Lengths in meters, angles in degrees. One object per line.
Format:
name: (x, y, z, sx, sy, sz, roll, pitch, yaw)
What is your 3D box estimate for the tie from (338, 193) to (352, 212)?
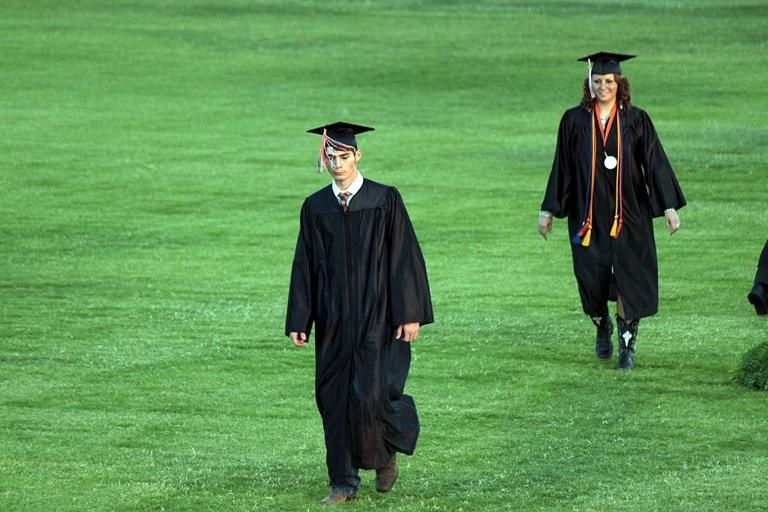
tie: (-0.478, -0.600, 18.666, 0.160, 0.208, 0.048, 0, 0, 9)

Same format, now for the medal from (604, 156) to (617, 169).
medal: (2.945, -1.160, 20.383, 0.183, 0.145, 0.091, 2, 3, 5)

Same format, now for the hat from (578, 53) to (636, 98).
hat: (2.938, -2.315, 20.705, 0.533, 0.560, 0.617, -1, 11, 6)

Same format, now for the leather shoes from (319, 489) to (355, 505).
leather shoes: (-0.544, 2.839, 18.579, 0.369, 0.121, 0.172, 2, -4, -6)

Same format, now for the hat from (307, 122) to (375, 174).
hat: (-0.516, -1.262, 18.848, 0.723, 0.441, 0.699, 4, 9, -12)
